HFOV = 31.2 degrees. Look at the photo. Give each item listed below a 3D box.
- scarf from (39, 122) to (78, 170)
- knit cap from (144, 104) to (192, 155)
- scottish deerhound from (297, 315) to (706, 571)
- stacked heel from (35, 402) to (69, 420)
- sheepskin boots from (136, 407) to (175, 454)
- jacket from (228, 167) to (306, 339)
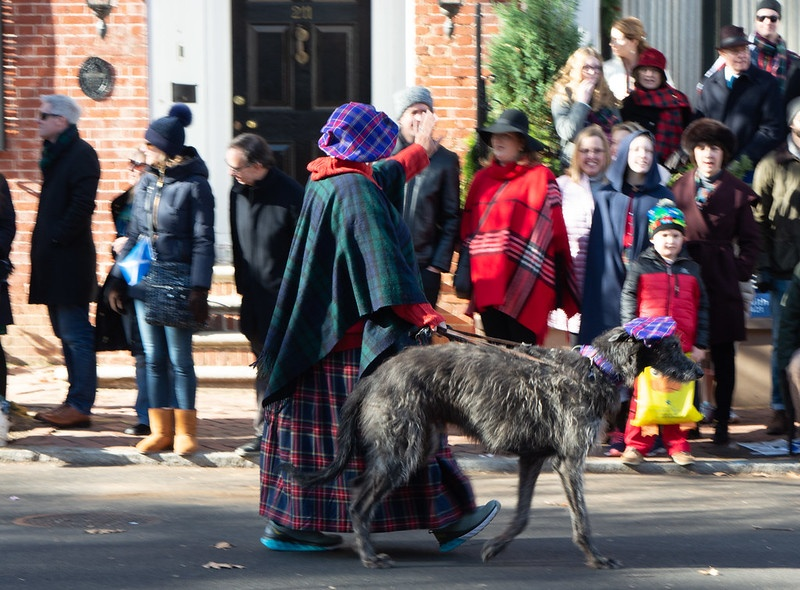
[{"bbox_3d":[-3.155,-1.351,13.305,0.183,0.419,0.344,42,6,13],"label":"scarf"},{"bbox_3d":[-2.009,-1.411,12.460,0.327,0.400,0.457,5,14,15],"label":"knit cap"},{"bbox_3d":[0.740,1.035,10.283,3.213,1.650,1.154,2,2,34],"label":"scottish deerhound"},{"bbox_3d":[-3.231,1.092,13.308,0.296,0.176,0.201,3,14,8],"label":"stacked heel"},{"bbox_3d":[-2.177,1.175,12.600,0.246,0.373,0.535,-1,2,20],"label":"sheepskin boots"},{"bbox_3d":[-1.206,-0.382,12.521,0.637,1.373,0.678,-10,22,-38],"label":"jacket"}]
